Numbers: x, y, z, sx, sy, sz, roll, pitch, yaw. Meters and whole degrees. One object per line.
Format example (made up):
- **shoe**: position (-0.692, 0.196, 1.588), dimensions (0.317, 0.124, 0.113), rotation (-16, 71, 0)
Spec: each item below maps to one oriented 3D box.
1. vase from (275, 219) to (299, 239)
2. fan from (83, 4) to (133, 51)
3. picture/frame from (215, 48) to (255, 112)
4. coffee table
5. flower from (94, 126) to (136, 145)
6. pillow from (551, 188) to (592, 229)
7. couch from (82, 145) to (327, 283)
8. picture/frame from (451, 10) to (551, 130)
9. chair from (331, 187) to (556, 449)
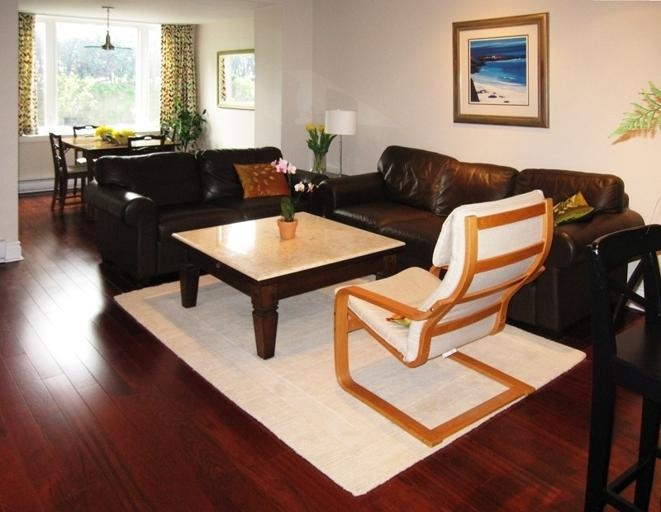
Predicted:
- **vase**: position (-0.325, -0.207, 3.638), dimensions (0.139, 0.117, 0.141), rotation (-2, 6, -22)
- **fan**: position (-3.718, -3.769, 8.039), dimensions (0.665, 0.610, 0.678), rotation (22, 33, 36)
- **picture/frame**: position (-1.583, -2.951, 8.137), dimensions (0.104, 0.977, 1.272), rotation (-6, 14, -37)
- **coffee table**: position (-0.473, -0.025, 3.517), dimensions (1.187, 0.519, 1.179), rotation (-16, 32, -37)
- **flower**: position (-3.060, -1.726, 6.971), dimensions (0.452, 0.208, 0.441), rotation (15, 25, 32)
- **pillow**: position (1.817, -0.341, 3.704), dimensions (0.294, 0.092, 0.304), rotation (-26, 27, -2)
- **couch**: position (-1.211, -0.528, 5.071), dimensions (2.263, 1.134, 0.990), rotation (-14, 21, -42)
- **picture/frame**: position (1.627, -1.767, 4.588), dimensions (0.080, 1.141, 1.088), rotation (-13, 19, -34)
- **chair**: position (0.562, 0.206, 2.761), dimensions (0.887, 1.175, 1.021), rotation (-14, 20, -37)
